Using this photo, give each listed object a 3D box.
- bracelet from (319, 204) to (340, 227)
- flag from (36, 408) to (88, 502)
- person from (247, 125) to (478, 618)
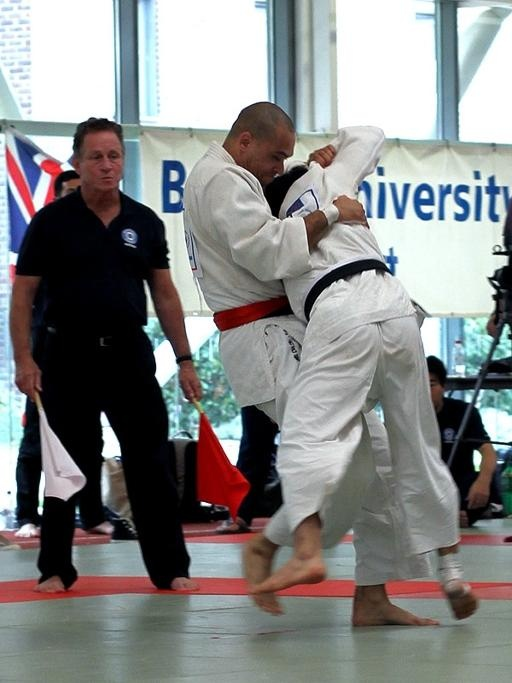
[{"bbox_3d":[0.175,-0.289,1.805,0.040,0.040,0.048,-19,-36,-1],"label":"bracelet"},{"bbox_3d":[-0.592,0.346,2.410,0.126,0.294,0.167,-5,7,-16],"label":"flag"},{"bbox_3d":[0.223,0.039,1.776,0.506,1.156,0.845,-3,6,-1],"label":"person"}]
